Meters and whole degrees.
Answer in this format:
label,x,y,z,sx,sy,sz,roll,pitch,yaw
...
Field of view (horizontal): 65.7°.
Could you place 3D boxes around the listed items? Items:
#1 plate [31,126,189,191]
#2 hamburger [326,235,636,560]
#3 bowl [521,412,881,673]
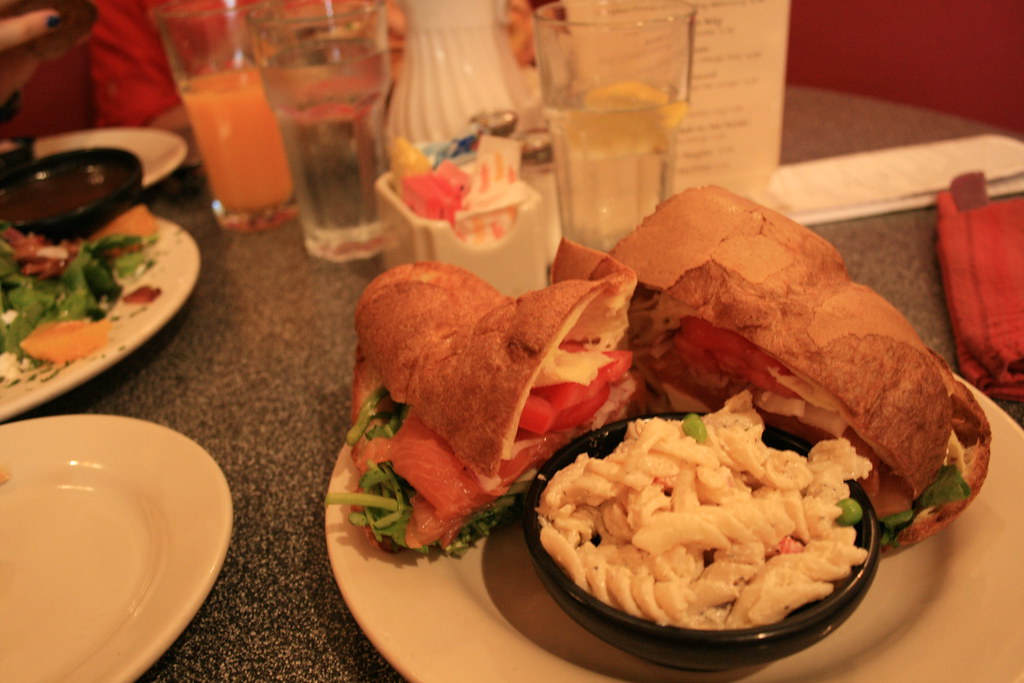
label,x,y,z,sx,sy,sz,roll,pitch,yaw
plate,-0.765,-0.386,1.553,0.218,0.036,0.220,17,30,28
hamburger,0.000,0.090,1.115,0.426,0.222,0.329,-38,56,0
bowl,0.191,0.277,0.914,0.328,0.126,0.326,-2,31,1
